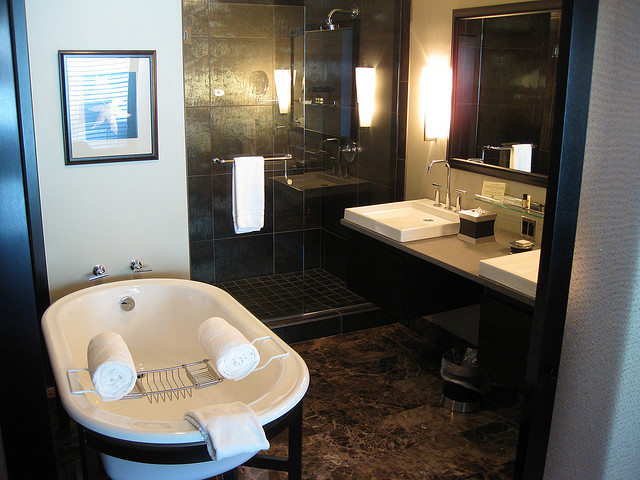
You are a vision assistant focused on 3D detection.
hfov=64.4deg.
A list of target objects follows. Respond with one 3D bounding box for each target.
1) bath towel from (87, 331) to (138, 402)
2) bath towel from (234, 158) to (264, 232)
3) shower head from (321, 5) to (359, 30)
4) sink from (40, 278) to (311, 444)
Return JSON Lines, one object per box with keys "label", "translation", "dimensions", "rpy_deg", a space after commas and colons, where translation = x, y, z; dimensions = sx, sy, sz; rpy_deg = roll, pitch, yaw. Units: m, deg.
{"label": "bath towel", "translation": [-0.891, 0.519, 2.146], "dimensions": [0.189, 0.179, 0.384], "rpy_deg": [-7, 10, -29]}
{"label": "bath towel", "translation": [-0.561, -0.336, 4.027], "dimensions": [0.262, 0.608, 0.144], "rpy_deg": [-6, 17, -8]}
{"label": "shower head", "translation": [0.098, -1.673, 3.811], "dimensions": [0.351, 0.211, 0.121], "rpy_deg": [-4, 21, -18]}
{"label": "sink", "translation": [-0.768, 0.626, 2.444], "dimensions": [1.002, 0.378, 1.532], "rpy_deg": [-2, 15, -31]}
